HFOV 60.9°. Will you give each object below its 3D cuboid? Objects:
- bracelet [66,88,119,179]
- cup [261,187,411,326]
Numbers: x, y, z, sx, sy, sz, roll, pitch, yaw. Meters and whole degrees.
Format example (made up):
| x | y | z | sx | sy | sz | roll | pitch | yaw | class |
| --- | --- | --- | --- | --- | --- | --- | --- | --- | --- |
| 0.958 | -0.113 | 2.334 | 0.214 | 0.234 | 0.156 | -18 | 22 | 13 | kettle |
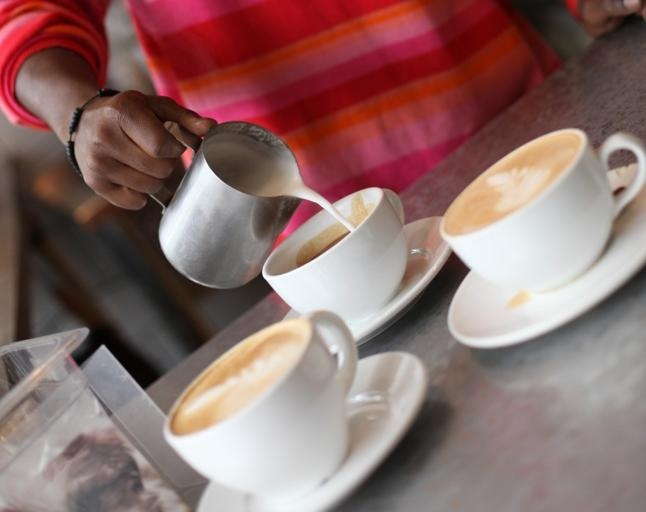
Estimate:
| x | y | z | sx | sy | sz | roll | pitch | yaw | class |
| --- | --- | --- | --- | --- | --- | --- | --- | --- | --- |
| -0.351 | -0.176 | 0.814 | 0.031 | 0.136 | 0.103 | 14 | 14 | 29 | bracelet |
| 0.035 | -0.030 | 0.638 | 0.136 | 0.086 | 0.177 | -28 | 16 | 41 | cup |
